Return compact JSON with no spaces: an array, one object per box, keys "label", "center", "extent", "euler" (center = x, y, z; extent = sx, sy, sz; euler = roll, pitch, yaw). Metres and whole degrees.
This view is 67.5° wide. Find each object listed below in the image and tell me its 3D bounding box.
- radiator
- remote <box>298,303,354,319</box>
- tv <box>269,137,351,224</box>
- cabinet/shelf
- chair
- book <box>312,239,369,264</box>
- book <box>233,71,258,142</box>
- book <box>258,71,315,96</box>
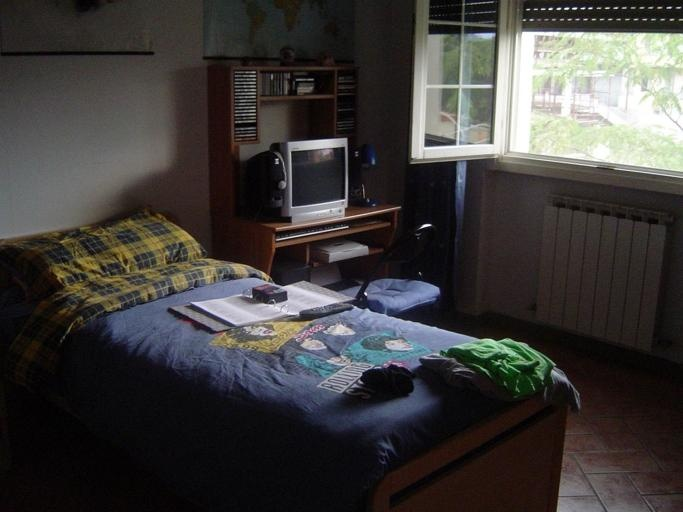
[{"label":"radiator","center":[1.966,0.150,3.757],"extent":[1.024,1.041,0.125],"euler":[18,19,40]},{"label":"remote","center":[-0.079,0.280,2.642],"extent":[0.196,0.047,0.098],"euler":[-18,14,-41]},{"label":"tv","center":[-0.274,-0.597,3.880],"extent":[0.644,0.565,0.380],"euler":[-15,22,-42]},{"label":"cabinet/shelf","center":[-0.441,-0.700,4.262],"extent":[1.459,1.468,0.846],"euler":[-26,24,-35]},{"label":"chair","center":[0.348,0.210,3.631],"extent":[0.632,0.875,0.735],"euler":[-8,10,-26]},{"label":"book","center":[-0.012,-0.041,3.917],"extent":[0.250,0.055,0.250],"euler":[-11,17,-38]},{"label":"book","center":[-0.652,-1.038,3.535],"extent":[0.042,0.485,0.212],"euler":[17,25,41]},{"label":"book","center":[-0.394,-1.257,3.720],"extent":[0.469,0.176,0.079],"euler":[-17,25,-42]}]
